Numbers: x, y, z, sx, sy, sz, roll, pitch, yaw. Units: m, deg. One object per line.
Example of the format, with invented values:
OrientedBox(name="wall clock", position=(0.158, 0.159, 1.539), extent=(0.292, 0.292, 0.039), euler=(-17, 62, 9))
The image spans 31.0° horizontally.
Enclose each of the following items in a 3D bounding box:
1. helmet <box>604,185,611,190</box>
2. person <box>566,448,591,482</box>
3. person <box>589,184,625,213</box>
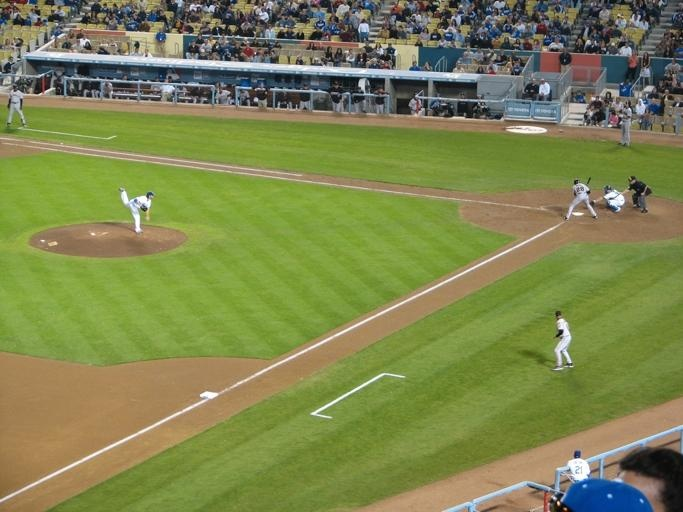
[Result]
OrientedBox(name="helmet", position=(11.599, -2.913, 53.858), extent=(0.306, 0.123, 0.405), euler=(5, 12, 34))
OrientedBox(name="person", position=(6.432, 5.728, 33.468), extent=(0.552, 0.925, 1.015), euler=(5, 18, 7))
OrientedBox(name="person", position=(11.767, -2.406, 53.748), extent=(1.848, 0.944, 1.584), euler=(10, 15, -2))
